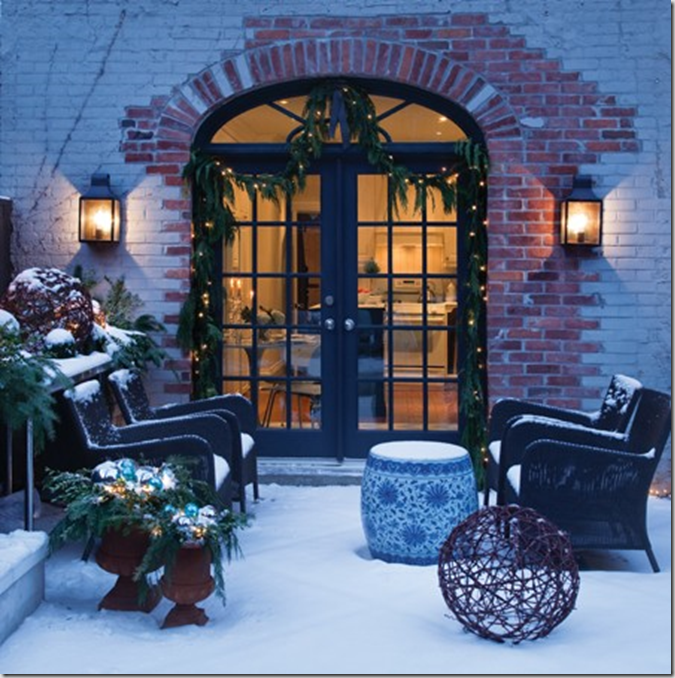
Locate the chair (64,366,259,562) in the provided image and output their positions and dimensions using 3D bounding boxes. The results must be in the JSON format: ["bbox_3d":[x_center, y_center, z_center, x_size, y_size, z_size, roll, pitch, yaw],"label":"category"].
[{"bbox_3d":[-0.723,0.503,4.219,0.652,0.793,0.540,-2,0,1],"label":"chair"}]

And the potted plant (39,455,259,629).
[{"bbox_3d":[-0.663,0.692,3.636,0.489,0.499,0.644,1,-6,-8],"label":"potted plant"}]

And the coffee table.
[{"bbox_3d":[0.322,0.666,4.053,0.438,0.418,0.208,1,7,9],"label":"coffee table"}]

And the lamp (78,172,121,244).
[{"bbox_3d":[-1.257,-0.645,5.437,0.213,0.410,0.233,5,-22,-21],"label":"lamp"}]

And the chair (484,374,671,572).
[{"bbox_3d":[1.003,0.489,4.283,0.542,0.813,0.751,0,-4,5],"label":"chair"}]

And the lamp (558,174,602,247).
[{"bbox_3d":[1.270,-0.633,5.323,0.217,0.433,0.251,-2,-18,22],"label":"lamp"}]
